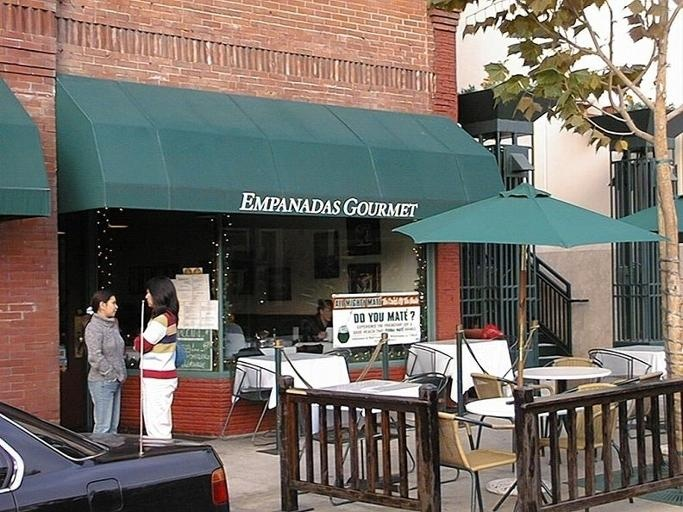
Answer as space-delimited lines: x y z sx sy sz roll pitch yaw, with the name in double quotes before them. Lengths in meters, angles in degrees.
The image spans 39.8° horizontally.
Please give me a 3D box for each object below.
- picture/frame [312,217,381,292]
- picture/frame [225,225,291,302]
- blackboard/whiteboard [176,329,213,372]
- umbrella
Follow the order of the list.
"picture/frame" 0.042 -0.042 14.381 1.225 1.189 0.062 1 -5 -39
"picture/frame" -1.241 0.101 13.590 1.152 1.148 0.053 4 -9 -43
"blackboard/whiteboard" -2.019 1.315 13.140 0.772 0.723 0.099 -1 -4 23
"umbrella" 2.885 0.483 14.172 3.876 2.454 3.807 2 2 17
